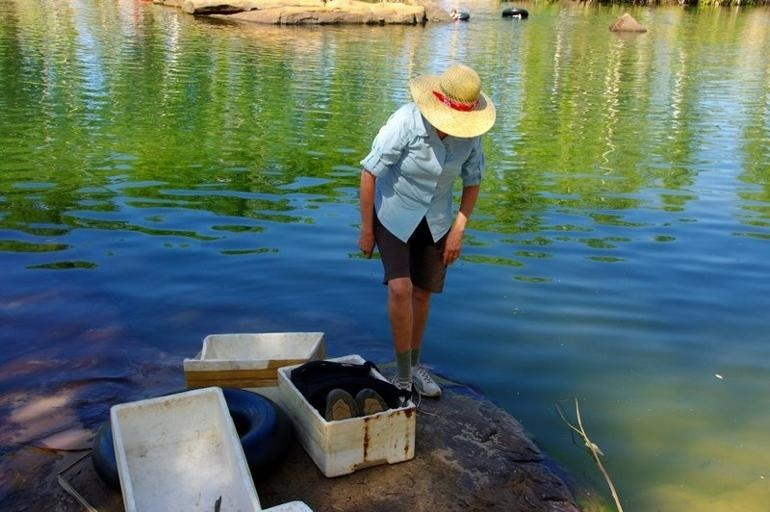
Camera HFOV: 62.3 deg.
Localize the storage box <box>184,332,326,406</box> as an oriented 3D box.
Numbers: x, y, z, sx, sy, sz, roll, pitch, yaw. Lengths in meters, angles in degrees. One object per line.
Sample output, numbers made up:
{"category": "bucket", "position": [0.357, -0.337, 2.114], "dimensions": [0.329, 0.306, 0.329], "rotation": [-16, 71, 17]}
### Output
{"category": "storage box", "position": [-1.332, 1.074, 6.531], "dimensions": [1.136, 0.280, 0.682], "rotation": [-4, 19, 10]}
